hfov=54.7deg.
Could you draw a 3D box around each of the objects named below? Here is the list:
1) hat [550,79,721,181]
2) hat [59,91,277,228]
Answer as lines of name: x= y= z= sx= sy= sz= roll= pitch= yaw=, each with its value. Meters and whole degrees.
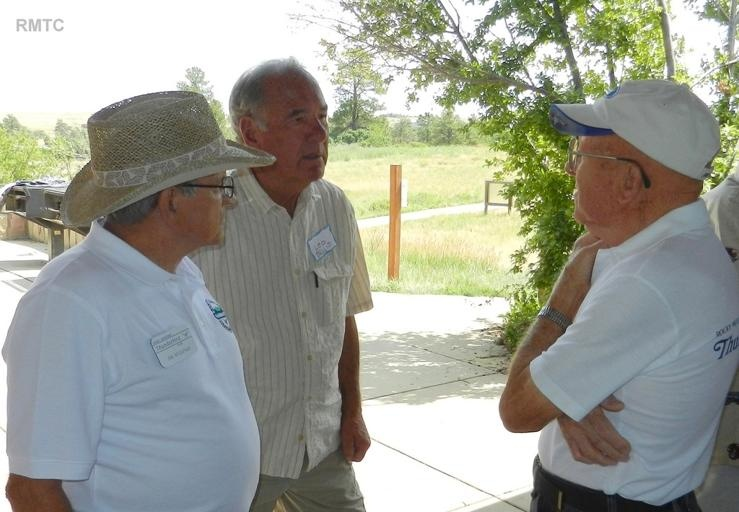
hat: x=1.065 y=-0.566 z=2.910 sx=0.624 sy=0.280 sz=0.412 roll=18 pitch=11 yaw=29
hat: x=-0.832 y=-0.445 z=2.897 sx=0.930 sy=0.372 sz=0.745 roll=-26 pitch=28 yaw=-36
